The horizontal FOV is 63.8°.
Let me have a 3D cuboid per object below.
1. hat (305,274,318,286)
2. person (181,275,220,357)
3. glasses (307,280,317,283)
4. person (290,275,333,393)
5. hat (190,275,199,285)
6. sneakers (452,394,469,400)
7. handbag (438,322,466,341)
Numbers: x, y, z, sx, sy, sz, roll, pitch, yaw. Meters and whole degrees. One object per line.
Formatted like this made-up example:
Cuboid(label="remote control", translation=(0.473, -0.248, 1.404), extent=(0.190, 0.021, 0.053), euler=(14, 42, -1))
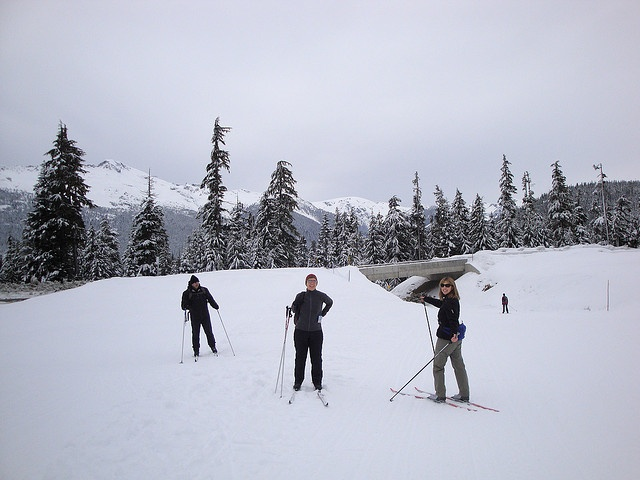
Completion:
Cuboid(label="hat", translation=(-0.298, 1.254, 16.828), extent=(0.340, 0.330, 0.392), euler=(3, -17, -3))
Cuboid(label="person", translation=(-4.496, 2.879, 19.357), extent=(1.103, 2.999, 1.155), euler=(0, -1, 14))
Cuboid(label="glasses", translation=(-0.242, 1.341, 16.674), extent=(0.289, 0.128, 0.129), euler=(2, -2, -30))
Cuboid(label="person", translation=(-0.364, 3.053, 16.940), extent=(1.210, 3.816, 0.773), euler=(1, -1, -3))
Cuboid(label="hat", translation=(-4.788, 1.493, 19.288), extent=(0.371, 0.352, 0.283), euler=(-11, -9, 37))
Cuboid(label="sneakers", translation=(4.527, 5.092, 16.507), extent=(0.514, 0.274, 0.210), euler=(1, -19, 18))
Cuboid(label="handbag", translation=(4.224, 2.902, 16.255), extent=(0.660, 0.373, 0.544), euler=(2, -11, -4))
